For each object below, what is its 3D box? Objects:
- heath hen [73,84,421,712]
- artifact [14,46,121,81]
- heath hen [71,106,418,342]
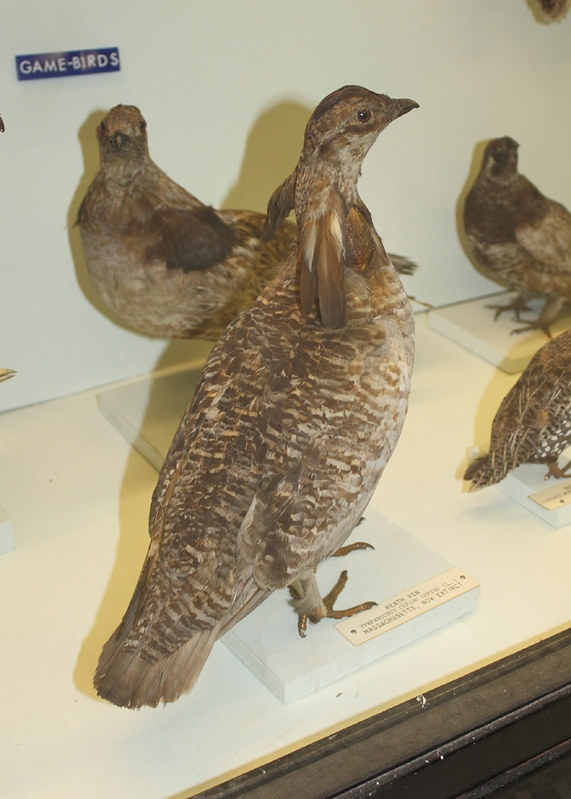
[{"bbox_3d":[-0.019,-0.014,1.309,0.368,0.859,0.544,9,25,13],"label":"heath hen"},{"bbox_3d":[-0.329,-0.520,1.363,0.033,0.055,0.180,23,29,38],"label":"artifact"},{"bbox_3d":[-0.066,-0.297,1.720,0.653,0.454,0.311,-19,52,-14],"label":"heath hen"}]
